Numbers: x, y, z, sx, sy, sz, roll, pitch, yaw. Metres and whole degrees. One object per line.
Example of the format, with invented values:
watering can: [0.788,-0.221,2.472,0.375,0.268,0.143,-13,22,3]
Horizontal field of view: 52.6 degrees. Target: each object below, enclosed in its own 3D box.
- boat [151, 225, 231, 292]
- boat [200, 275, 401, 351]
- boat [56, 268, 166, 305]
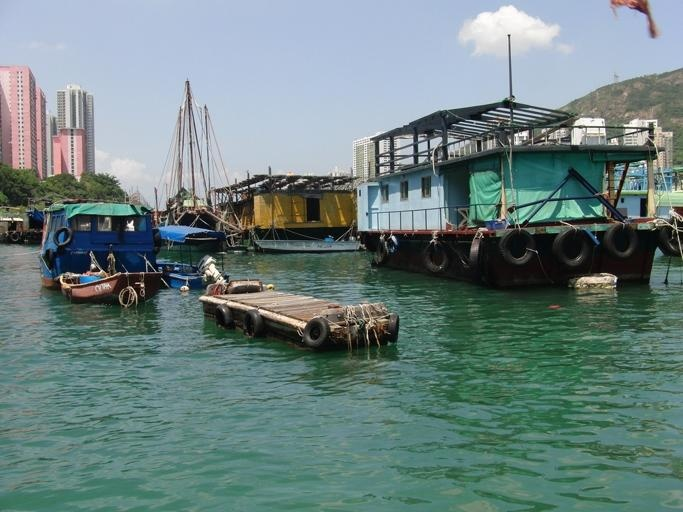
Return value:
boat: [-7.900,-0.339,35.866,2.406,2.694,8.107,-3,-13,0]
boat: [-1.548,1.444,18.637,2.779,1.391,6.882,-8,14,-31]
boat: [-8.056,1.076,23.100,2.835,0.692,1.470,-1,0,40]
